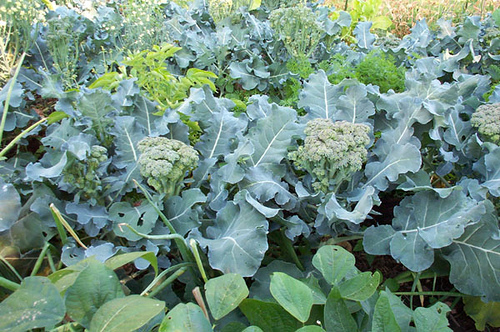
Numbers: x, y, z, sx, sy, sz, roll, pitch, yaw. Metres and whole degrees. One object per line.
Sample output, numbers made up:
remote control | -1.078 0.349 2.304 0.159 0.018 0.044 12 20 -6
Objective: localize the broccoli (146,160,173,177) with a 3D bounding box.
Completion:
broccoli | -0.483 0.006 1.995 0.098 0.033 0.097 -14 27 -24

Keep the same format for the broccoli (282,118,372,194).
broccoli | 0.490 -0.050 2.216 0.418 0.432 0.506 -16 19 -27

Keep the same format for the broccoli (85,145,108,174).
broccoli | -0.898 -0.049 2.146 0.102 0.153 0.052 53 38 -6

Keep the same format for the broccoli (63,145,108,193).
broccoli | -0.932 0.013 2.129 0.252 0.251 0.122 -42 89 -19
